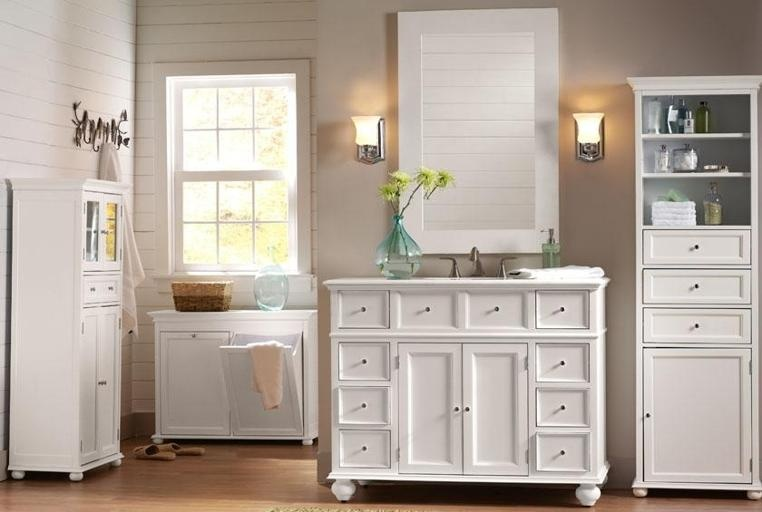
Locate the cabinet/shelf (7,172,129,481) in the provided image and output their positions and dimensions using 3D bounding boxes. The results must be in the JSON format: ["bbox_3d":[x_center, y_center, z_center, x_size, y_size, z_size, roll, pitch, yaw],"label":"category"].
[{"bbox_3d":[-2.270,0.516,5.114,0.830,2.130,0.423,-2,4,-18],"label":"cabinet/shelf"}]

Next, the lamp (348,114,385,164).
[{"bbox_3d":[-0.090,-0.808,5.012,0.242,0.325,0.231,-1,3,5],"label":"lamp"}]

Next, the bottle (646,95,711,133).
[{"bbox_3d":[1.989,-0.945,4.767,0.290,0.269,0.100,1,-3,-1],"label":"bottle"}]

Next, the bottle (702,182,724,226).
[{"bbox_3d":[2.229,-0.353,4.765,0.140,0.291,0.134,1,1,0],"label":"bottle"}]

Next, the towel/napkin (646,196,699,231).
[{"bbox_3d":[1.941,-0.275,4.686,0.230,0.131,0.221,0,0,6],"label":"towel/napkin"}]

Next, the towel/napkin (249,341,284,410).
[{"bbox_3d":[-0.906,0.952,5.635,0.266,0.518,0.148,-1,4,-11],"label":"towel/napkin"}]

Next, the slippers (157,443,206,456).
[{"bbox_3d":[-1.569,1.533,5.630,0.377,0.095,0.128,1,-6,8],"label":"slippers"}]

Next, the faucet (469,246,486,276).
[{"bbox_3d":[0.662,0.041,4.904,0.089,0.202,0.129,0,3,3],"label":"faucet"}]

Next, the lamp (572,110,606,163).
[{"bbox_3d":[1.434,-0.812,4.857,0.205,0.325,0.141,0,4,14],"label":"lamp"}]

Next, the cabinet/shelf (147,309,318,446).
[{"bbox_3d":[-1.180,1.044,6.036,1.442,1.097,0.529,-2,-3,13],"label":"cabinet/shelf"}]

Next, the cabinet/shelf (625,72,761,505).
[{"bbox_3d":[2.081,0.202,4.739,0.857,2.751,0.524,0,4,14],"label":"cabinet/shelf"}]

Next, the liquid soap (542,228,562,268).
[{"bbox_3d":[1.173,-0.023,4.871,0.131,0.319,0.126,0,2,22],"label":"liquid soap"}]

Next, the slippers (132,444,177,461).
[{"bbox_3d":[-1.759,1.536,5.520,0.206,0.056,0.149,-1,0,6],"label":"slippers"}]

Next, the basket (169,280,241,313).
[{"bbox_3d":[-1.503,0.343,5.952,0.487,0.245,0.143,-1,4,-9],"label":"basket"}]

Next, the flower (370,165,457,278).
[{"bbox_3d":[0.216,-0.231,4.842,0.500,0.735,0.426,-3,6,-10],"label":"flower"}]

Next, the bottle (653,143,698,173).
[{"bbox_3d":[1.977,-0.657,4.744,0.281,0.184,0.167,2,2,26],"label":"bottle"}]

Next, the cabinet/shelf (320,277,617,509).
[{"bbox_3d":[0.560,0.863,4.535,1.578,1.190,0.579,0,-4,7],"label":"cabinet/shelf"}]

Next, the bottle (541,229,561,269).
[{"bbox_3d":[1.168,-0.054,4.856,0.115,0.265,0.151,0,4,12],"label":"bottle"}]
